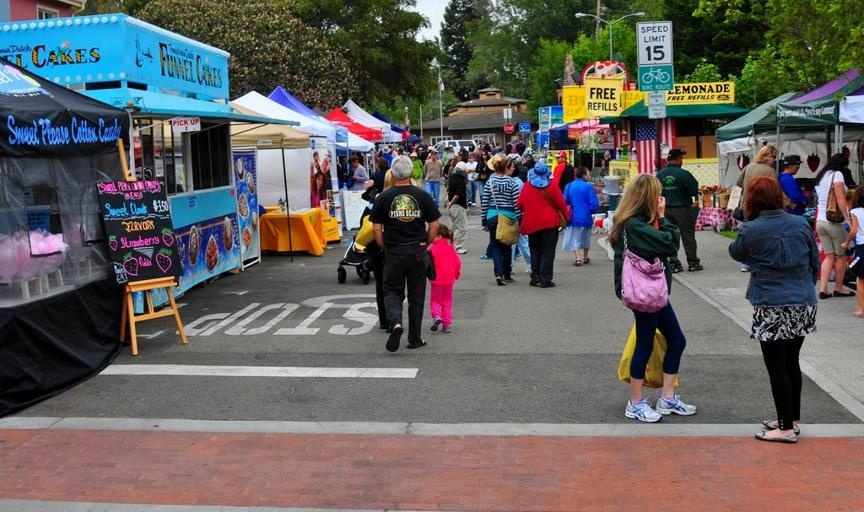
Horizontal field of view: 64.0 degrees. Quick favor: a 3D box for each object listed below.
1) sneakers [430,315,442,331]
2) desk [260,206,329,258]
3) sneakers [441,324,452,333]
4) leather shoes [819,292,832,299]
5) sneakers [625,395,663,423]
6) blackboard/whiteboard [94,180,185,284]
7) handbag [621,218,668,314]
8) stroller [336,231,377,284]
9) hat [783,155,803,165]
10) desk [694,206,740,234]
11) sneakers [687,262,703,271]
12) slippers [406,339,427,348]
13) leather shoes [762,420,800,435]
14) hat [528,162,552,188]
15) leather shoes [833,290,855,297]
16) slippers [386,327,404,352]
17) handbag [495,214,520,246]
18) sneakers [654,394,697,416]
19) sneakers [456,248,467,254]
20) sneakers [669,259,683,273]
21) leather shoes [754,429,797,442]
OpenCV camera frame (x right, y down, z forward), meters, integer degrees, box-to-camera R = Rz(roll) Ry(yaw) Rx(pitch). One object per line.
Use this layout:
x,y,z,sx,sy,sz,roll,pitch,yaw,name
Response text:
0.062,1.101,10.888,0.104,0.120,0.290,7,-34,-14,sneakers
-3.778,-0.674,18.436,1.411,0.810,1.654,-4,7,-8,desk
0.232,1.139,10.798,0.184,0.119,0.061,-3,6,-24,sneakers
6.765,0.668,11.899,0.253,0.093,0.090,-13,18,-41,leather shoes
2.353,1.721,7.755,0.458,0.207,0.190,2,8,21,sneakers
-4.305,-0.375,10.217,0.987,1.485,0.566,-11,14,-34,blackboard/whiteboard
2.302,0.174,7.474,0.494,0.885,0.330,0,12,16,handbag
-1.550,0.199,14.616,0.671,0.850,1.257,0,-4,2,stroller
6.903,-1.812,13.242,0.358,0.156,0.501,7,13,41,hat
8.496,-1.133,20.700,1.001,0.492,0.967,-4,7,-30,desk
5.654,0.225,14.676,0.347,0.224,0.142,-4,7,-21,sneakers
-0.219,1.269,10.083,0.267,0.097,0.110,-4,8,-26,slippers
3.709,1.807,7.339,0.350,0.129,0.186,3,3,21,leather shoes
2.110,-1.570,13.402,0.394,0.514,0.202,1,-38,-2,hat
7.173,0.668,12.036,0.405,0.135,0.135,-4,10,-2,leather shoes
-0.524,1.183,9.832,0.200,0.407,0.175,19,-1,-1,slippers
1.517,-0.523,13.900,0.632,0.628,0.305,3,-10,-39,handbag
2.735,1.700,7.901,0.511,0.214,0.199,0,3,1,sneakers
0.781,-0.130,17.930,0.288,0.119,0.107,0,4,24,sneakers
4.829,0.203,13.690,0.137,0.153,0.357,-6,-28,19,sneakers
3.586,1.871,7.226,0.322,0.105,0.171,2,0,12,leather shoes
